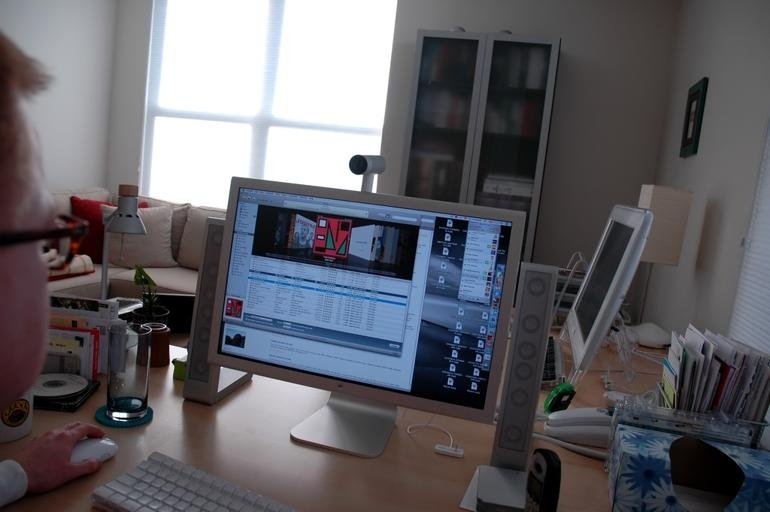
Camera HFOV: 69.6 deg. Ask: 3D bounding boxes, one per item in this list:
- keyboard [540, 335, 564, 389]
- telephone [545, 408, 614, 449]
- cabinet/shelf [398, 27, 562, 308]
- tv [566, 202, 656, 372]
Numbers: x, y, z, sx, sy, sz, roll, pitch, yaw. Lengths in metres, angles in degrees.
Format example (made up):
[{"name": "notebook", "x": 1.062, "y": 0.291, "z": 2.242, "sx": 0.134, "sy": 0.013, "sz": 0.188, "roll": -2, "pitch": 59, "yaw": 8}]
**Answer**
[{"name": "keyboard", "x": 0.663, "y": 0.400, "z": 2.152, "sx": 0.040, "sy": 0.175, "sz": 0.143, "roll": -2, "pitch": -7, "yaw": 34}, {"name": "telephone", "x": 0.580, "y": 0.504, "z": 1.663, "sx": 0.175, "sy": 0.062, "sz": 0.095, "roll": 4, "pitch": 10, "yaw": 19}, {"name": "cabinet/shelf", "x": 0.656, "y": -0.733, "z": 4.155, "sx": 0.950, "sy": 1.975, "sz": 0.270, "roll": 6, "pitch": 45, "yaw": 6}, {"name": "tv", "x": 1.003, "y": 0.153, "z": 2.433, "sx": 0.088, "sy": 0.594, "sz": 0.780, "roll": 23, "pitch": 21, "yaw": 6}]
